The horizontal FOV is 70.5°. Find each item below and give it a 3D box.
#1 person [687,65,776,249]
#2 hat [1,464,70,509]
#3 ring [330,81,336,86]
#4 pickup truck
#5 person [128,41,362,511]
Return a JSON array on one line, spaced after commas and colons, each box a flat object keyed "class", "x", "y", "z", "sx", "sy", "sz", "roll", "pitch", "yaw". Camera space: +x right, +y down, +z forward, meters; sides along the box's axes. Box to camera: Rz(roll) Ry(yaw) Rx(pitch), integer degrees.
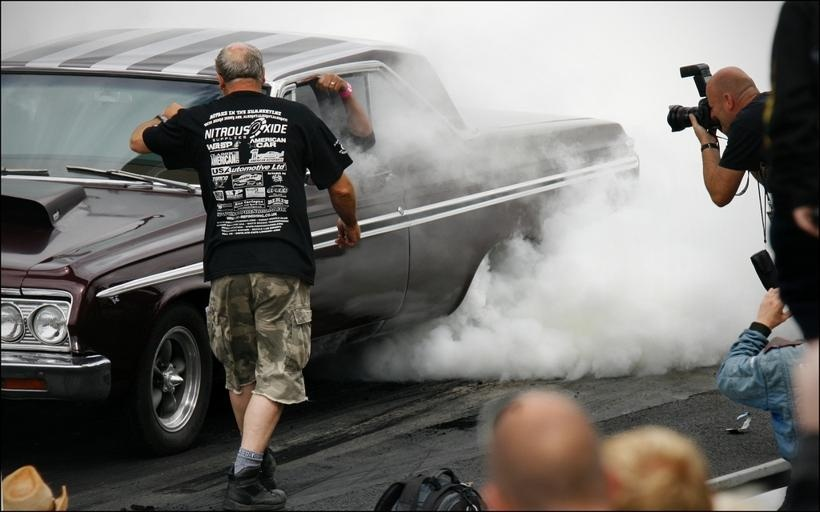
[{"class": "person", "x": 1.948, "y": -0.707, "z": 3.424, "sx": 0.436, "sy": 0.849, "sz": 0.824, "roll": 2, "pitch": 10, "yaw": 16}, {"class": "hat", "x": -1.527, "y": 0.932, "z": 2.293, "sx": 0.151, "sy": 0.156, "sz": 0.116, "roll": -10, "pitch": 13, "yaw": -43}, {"class": "ring", "x": -0.532, "y": -1.174, "z": 3.962, "sx": 0.035, "sy": 0.034, "sz": 0.010, "roll": 0, "pitch": -8, "yaw": -2}, {"class": "pickup truck", "x": -0.650, "y": -0.439, "z": 4.710, "sx": 2.385, "sy": 1.480, "sz": 4.298, "roll": 3, "pitch": 9, "yaw": 28}, {"class": "person", "x": -0.764, "y": 0.099, "z": 3.111, "sx": 1.017, "sy": 2.397, "sz": 0.584, "roll": -4, "pitch": 10, "yaw": -22}]
